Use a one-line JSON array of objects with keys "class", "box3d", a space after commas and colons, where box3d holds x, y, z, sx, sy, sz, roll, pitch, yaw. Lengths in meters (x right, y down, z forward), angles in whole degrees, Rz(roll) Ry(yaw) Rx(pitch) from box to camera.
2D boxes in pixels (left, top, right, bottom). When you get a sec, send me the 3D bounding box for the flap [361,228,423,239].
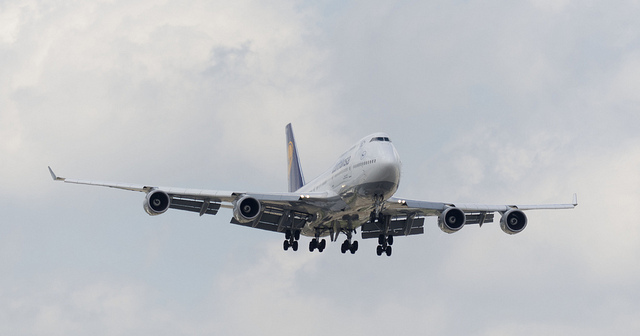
[{"class": "flap", "box3d": [6.082, 5.857, 83.896, 3.971, 1.034, 0.560, -5, 14, 1]}]
